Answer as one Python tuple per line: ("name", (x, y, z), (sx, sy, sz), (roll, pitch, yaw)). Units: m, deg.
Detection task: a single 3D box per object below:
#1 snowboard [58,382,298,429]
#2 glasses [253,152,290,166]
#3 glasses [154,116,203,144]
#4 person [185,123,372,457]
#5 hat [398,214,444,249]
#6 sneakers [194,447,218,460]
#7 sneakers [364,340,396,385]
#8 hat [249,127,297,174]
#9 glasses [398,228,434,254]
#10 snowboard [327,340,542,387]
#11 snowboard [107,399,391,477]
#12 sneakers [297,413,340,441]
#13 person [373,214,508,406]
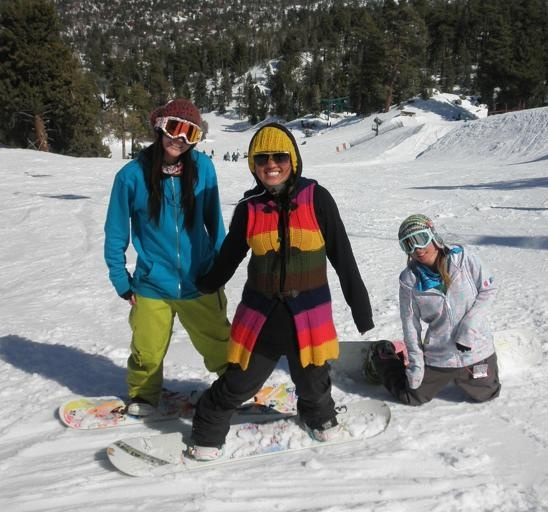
("snowboard", (-0.639, 1.034, 3.954), (1.891, 0.193, 0.431), (0, 24, -2))
("glasses", (-0.011, -0.543, 3.245), (0.194, 0.068, 0.051), (-1, 13, 2))
("glasses", (-0.571, -0.776, 3.551), (0.194, 0.092, 0.219), (19, 5, -22))
("person", (0.032, 0.243, 3.432), (1.089, 2.001, 0.403), (0, 14, 6))
("hat", (0.978, -0.163, 3.899), (0.234, 0.220, 0.318), (-18, -6, 39))
("sneakers", (-0.415, 1.198, 3.532), (0.135, 0.044, 0.074), (8, -5, -12))
("sneakers", (0.794, 0.806, 4.388), (0.213, 0.331, 0.150), (10, 8, 15))
("hat", (0.029, -0.616, 3.367), (0.341, 0.280, 0.335), (3, 7, 16))
("glasses", (0.948, -0.109, 3.827), (0.160, 0.088, 0.193), (-31, -8, 25))
("snowboard", (1.190, 0.794, 4.208), (1.417, 0.216, 0.363), (-5, -14, -9))
("snowboard", (-0.147, 1.173, 3.667), (1.463, 0.065, 0.340), (-6, 17, -13))
("sneakers", (0.278, 1.087, 3.733), (0.148, 0.090, 0.242), (-7, 3, -32))
("person", (1.127, 0.376, 4.032), (0.902, 1.363, 0.408), (3, 15, 20))
